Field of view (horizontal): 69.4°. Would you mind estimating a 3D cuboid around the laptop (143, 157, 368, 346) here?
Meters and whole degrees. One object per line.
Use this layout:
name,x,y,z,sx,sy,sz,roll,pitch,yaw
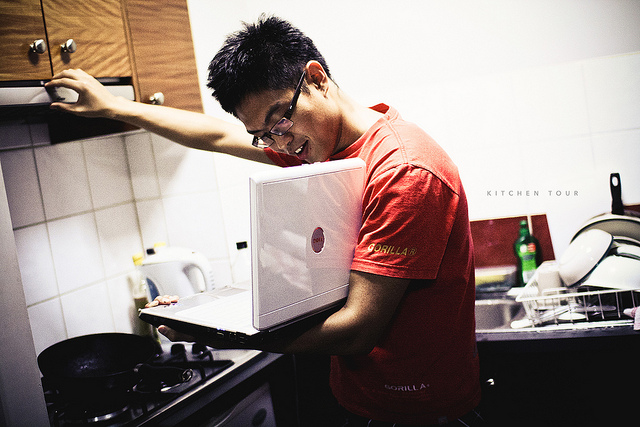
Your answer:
laptop,-0.176,0.075,1.376,0.435,0.421,0.542,4,9,28
